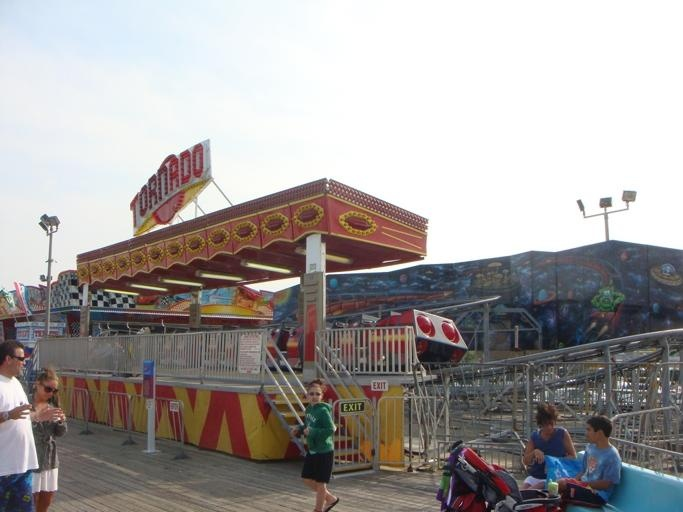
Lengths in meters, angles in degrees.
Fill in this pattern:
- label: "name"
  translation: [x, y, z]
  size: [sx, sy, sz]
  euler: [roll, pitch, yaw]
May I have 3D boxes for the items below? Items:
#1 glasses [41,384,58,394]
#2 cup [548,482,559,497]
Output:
- label: "glasses"
  translation: [-4.108, 1.881, 9.815]
  size: [0.119, 0.129, 0.209]
  euler: [-4, -9, 18]
- label: "cup"
  translation: [2.906, 3.199, 9.495]
  size: [0.170, 0.184, 0.167]
  euler: [0, -12, 0]
